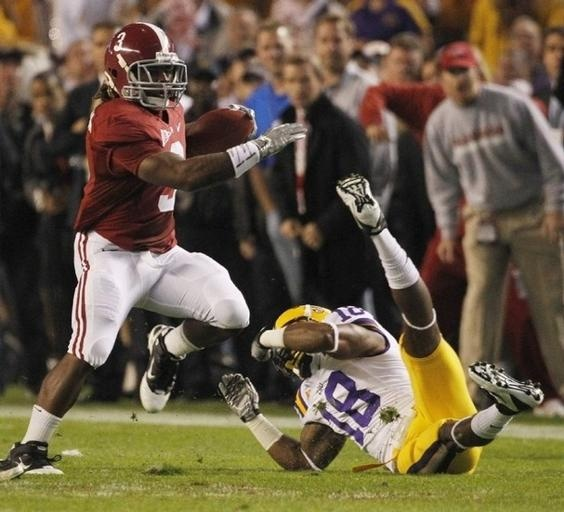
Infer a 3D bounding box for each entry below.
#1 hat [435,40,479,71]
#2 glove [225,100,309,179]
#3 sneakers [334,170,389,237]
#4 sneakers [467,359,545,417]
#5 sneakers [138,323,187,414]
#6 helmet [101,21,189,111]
[{"bbox_3d":[0.962,-1.091,5.813,0.218,0.164,0.114,3,3,-3],"label":"hat"},{"bbox_3d":[-0.097,-0.519,4.789,0.349,0.133,0.427,29,37,-14],"label":"glove"},{"bbox_3d":[0.340,-0.219,4.587,0.170,0.297,0.120,-35,8,10],"label":"sneakers"},{"bbox_3d":[0.926,0.555,4.388,0.304,0.210,0.214,3,3,9],"label":"sneakers"},{"bbox_3d":[-0.645,0.571,5.299,0.176,0.466,0.215,13,-8,-31],"label":"sneakers"},{"bbox_3d":[-0.636,-0.893,4.950,0.456,0.352,0.318,20,21,41],"label":"helmet"}]
